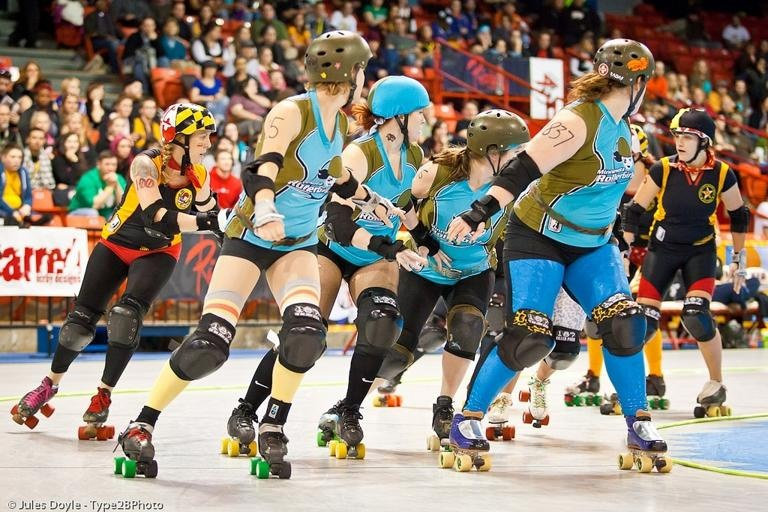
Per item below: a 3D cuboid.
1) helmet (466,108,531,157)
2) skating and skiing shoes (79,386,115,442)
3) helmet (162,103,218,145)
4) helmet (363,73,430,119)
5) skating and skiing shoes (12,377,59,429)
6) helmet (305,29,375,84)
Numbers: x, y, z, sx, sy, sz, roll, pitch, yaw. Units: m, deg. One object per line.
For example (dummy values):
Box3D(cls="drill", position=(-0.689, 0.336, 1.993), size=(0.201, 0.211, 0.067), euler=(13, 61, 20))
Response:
Box3D(cls="helmet", position=(0.856, -0.937, 6.150), size=(0.404, 0.310, 0.316), euler=(18, 9, 4))
Box3D(cls="skating and skiing shoes", position=(-2.229, 1.270, 6.395), size=(0.200, 0.304, 0.452), euler=(3, -9, -1))
Box3D(cls="helmet", position=(-1.492, -1.037, 6.224), size=(0.356, 0.295, 0.286), euler=(9, 11, 6))
Box3D(cls="helmet", position=(0.112, -1.238, 6.260), size=(0.417, 0.287, 0.306), euler=(2, 8, -2))
Box3D(cls="skating and skiing shoes", position=(-2.848, 1.178, 6.857), size=(0.265, 0.259, 0.560), euler=(38, 10, 0))
Box3D(cls="helmet", position=(-0.338, -1.349, 5.644), size=(0.318, 0.348, 0.439), euler=(-2, -12, 44))
